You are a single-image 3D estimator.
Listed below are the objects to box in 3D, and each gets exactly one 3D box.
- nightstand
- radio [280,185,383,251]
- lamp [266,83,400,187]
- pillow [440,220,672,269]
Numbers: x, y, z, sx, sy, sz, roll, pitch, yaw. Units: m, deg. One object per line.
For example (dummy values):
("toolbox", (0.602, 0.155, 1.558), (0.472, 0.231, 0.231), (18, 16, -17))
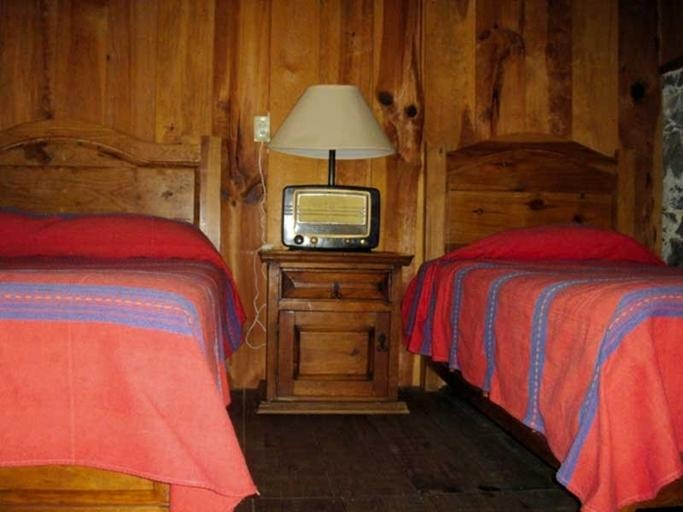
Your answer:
("nightstand", (-0.035, 0.326, 2.899), (0.629, 0.709, 0.550), (2, 5, -7))
("radio", (-0.043, -0.164, 2.993), (0.457, 0.345, 0.265), (1, -4, -3))
("lamp", (-0.034, -0.564, 3.145), (0.553, 0.451, 0.417), (2, 10, 2))
("pillow", (0.908, -0.047, 2.945), (0.917, 0.146, 0.131), (1, 10, -4))
